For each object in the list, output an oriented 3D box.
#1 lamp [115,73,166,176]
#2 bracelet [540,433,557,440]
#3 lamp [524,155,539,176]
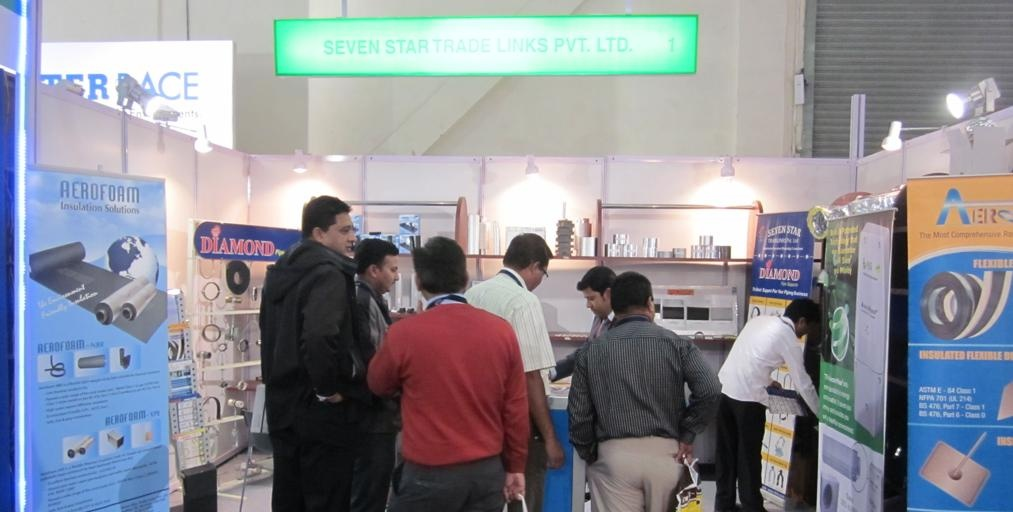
[{"bbox_3d":[-4.351,-1.584,9.545,0.477,1.266,1.007,-1,1,-25],"label":"lamp"},{"bbox_3d":[0.399,1.702,7.605,0.086,0.055,0.083,1,-3,-2],"label":"bracelet"},{"bbox_3d":[0.331,-1.185,10.357,0.219,0.225,0.214,0,3,15],"label":"lamp"}]
